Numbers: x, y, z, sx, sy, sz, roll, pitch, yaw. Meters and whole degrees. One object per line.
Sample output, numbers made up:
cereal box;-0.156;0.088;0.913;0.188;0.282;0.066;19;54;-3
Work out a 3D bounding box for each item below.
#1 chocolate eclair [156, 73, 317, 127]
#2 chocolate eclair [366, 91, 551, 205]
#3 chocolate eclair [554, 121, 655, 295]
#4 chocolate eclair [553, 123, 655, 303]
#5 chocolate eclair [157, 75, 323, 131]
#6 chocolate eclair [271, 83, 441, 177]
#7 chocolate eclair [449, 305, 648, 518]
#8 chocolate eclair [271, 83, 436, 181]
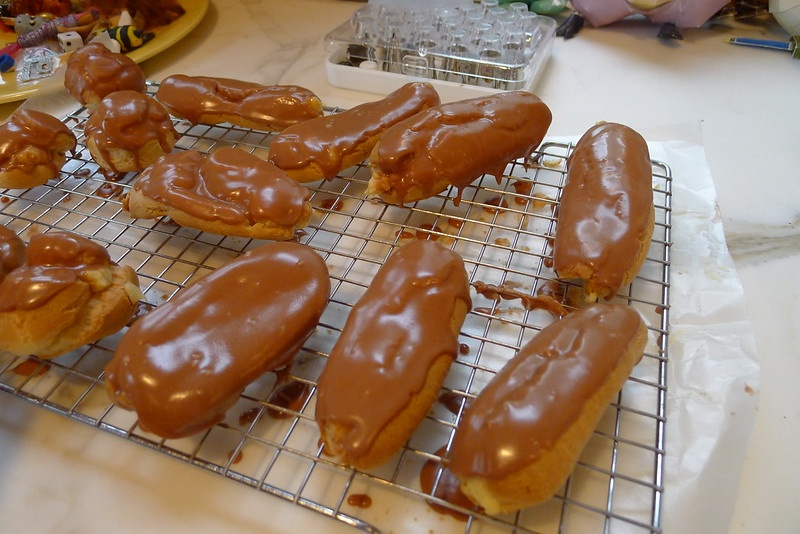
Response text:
chocolate eclair;-0.556;-0.562;2.225;0.442;0.128;0.224;8;36;8
chocolate eclair;0.177;-0.382;1.986;0.511;0.163;0.283;-22;58;-14
chocolate eclair;0.625;-0.149;1.942;0.255;0.188;0.523;2;58;33
chocolate eclair;0.607;-0.189;1.897;0.261;0.182;0.535;1;57;33
chocolate eclair;-0.554;-0.556;2.230;0.452;0.132;0.230;8;37;8
chocolate eclair;-0.130;-0.441;2.117;0.547;0.155;0.247;-28;33;-12
chocolate eclair;0.393;0.297;1.620;0.631;0.211;0.270;-43;68;-14
chocolate eclair;-0.105;-0.372;2.156;0.538;0.153;0.253;-25;43;-7
